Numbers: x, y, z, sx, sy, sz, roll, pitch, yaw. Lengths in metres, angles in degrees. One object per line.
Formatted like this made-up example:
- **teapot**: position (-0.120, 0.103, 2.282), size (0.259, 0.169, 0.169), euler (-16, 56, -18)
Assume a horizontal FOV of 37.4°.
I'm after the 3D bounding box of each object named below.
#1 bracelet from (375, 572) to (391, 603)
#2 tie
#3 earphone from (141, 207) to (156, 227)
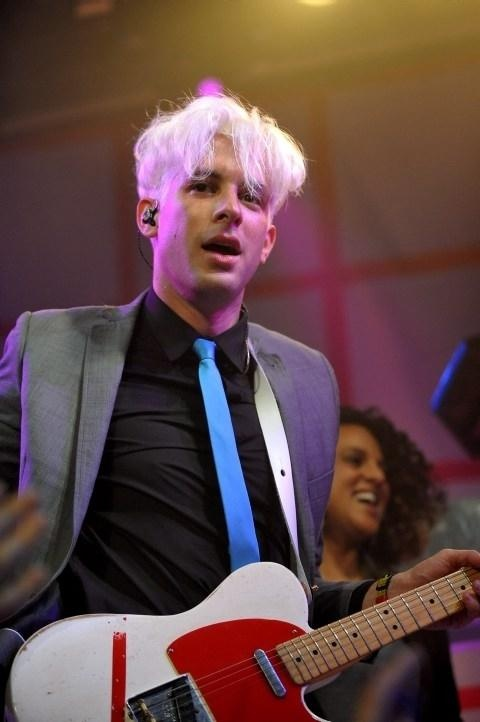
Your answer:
- **bracelet**: position (0.364, 0.582, 1.806), size (0.020, 0.054, 0.043), euler (4, -12, 24)
- **tie**: position (-0.056, 0.254, 1.829), size (0.176, 0.473, 0.077), euler (0, -21, -26)
- **earphone**: position (-0.262, -0.416, 2.039), size (0.038, 0.060, 0.024), euler (3, -1, 19)
